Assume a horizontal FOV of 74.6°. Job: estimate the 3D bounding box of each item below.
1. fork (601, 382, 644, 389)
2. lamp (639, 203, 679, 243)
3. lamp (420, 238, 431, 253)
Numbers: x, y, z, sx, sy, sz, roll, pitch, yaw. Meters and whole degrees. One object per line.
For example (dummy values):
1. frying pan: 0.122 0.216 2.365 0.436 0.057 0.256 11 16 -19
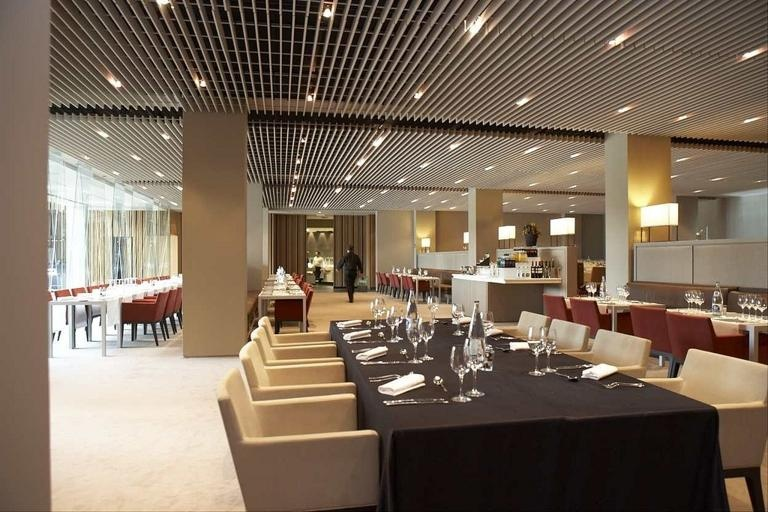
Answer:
1. fork: 1.548 0.845 3.282 0.265 0.057 0.091 -1 0 1
2. lamp: 5.268 -0.575 9.368 0.331 0.861 0.671 6 -1 43
3. lamp: 1.819 -0.559 22.000 0.530 0.641 0.366 -11 9 -41
